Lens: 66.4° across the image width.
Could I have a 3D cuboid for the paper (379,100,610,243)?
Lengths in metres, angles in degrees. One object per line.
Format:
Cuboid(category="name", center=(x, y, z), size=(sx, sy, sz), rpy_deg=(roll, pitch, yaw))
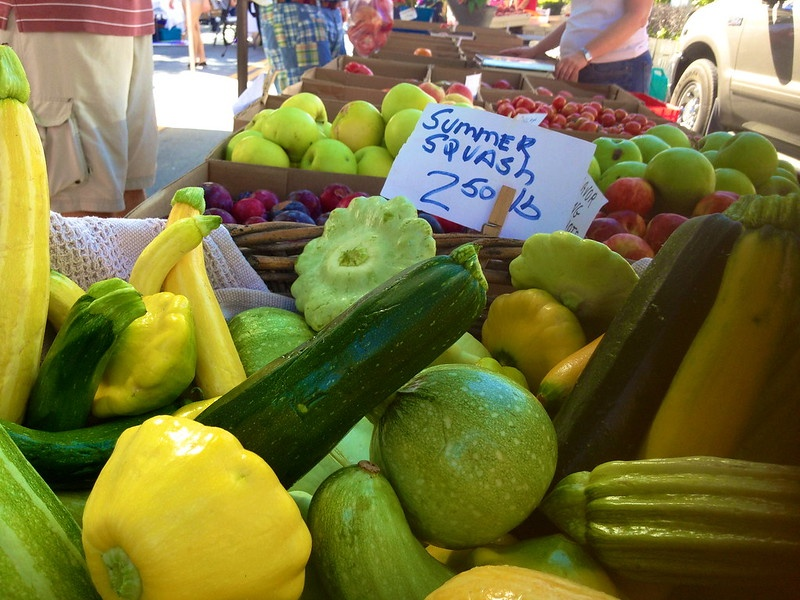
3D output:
Cuboid(category="paper", center=(0.357, -0.482, 2.312), size=(0.859, 0.573, 0.218), rpy_deg=(21, -12, 13))
